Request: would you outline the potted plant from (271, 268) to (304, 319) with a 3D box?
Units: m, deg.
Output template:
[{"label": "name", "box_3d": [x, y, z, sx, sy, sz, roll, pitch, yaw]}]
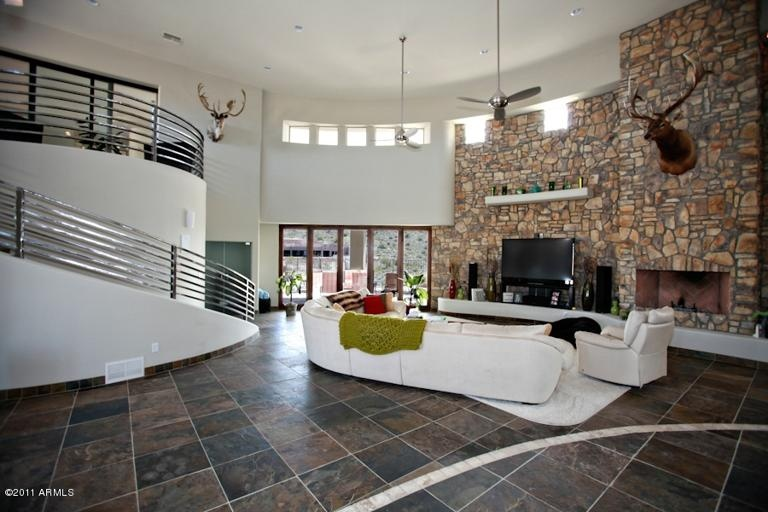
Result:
[{"label": "potted plant", "box_3d": [-2.530, 1.038, 12.159, 0.692, 1.161, 0.621, -4, -10, 6]}]

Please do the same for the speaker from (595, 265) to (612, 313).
[{"label": "speaker", "box_3d": [4.948, 0.716, 10.019, 0.527, 1.029, 0.252, -1, 0, -19]}]

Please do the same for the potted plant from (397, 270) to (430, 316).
[{"label": "potted plant", "box_3d": [0.887, 0.965, 12.491, 0.883, 1.585, 0.997, -2, -6, 9]}]

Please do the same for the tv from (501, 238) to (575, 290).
[{"label": "tv", "box_3d": [3.717, 0.129, 10.863, 1.569, 1.116, 0.301, -1, 0, 26]}]

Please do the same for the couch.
[{"label": "couch", "box_3d": [0.758, 1.637, 8.108, 4.629, 1.406, 1.629, 0, 1, 32]}]

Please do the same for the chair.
[{"label": "chair", "box_3d": [4.094, 1.509, 7.840, 1.366, 1.472, 1.335, -2, 3, -38]}]

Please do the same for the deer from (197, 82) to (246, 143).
[{"label": "deer", "box_3d": [-3.932, -3.586, 11.089, 1.208, 1.262, 0.636, -1, 0, -32]}]

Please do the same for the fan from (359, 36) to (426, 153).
[{"label": "fan", "box_3d": [0.223, -4.080, 11.091, 1.392, 2.680, 1.459, 6, 30, 10]}]
